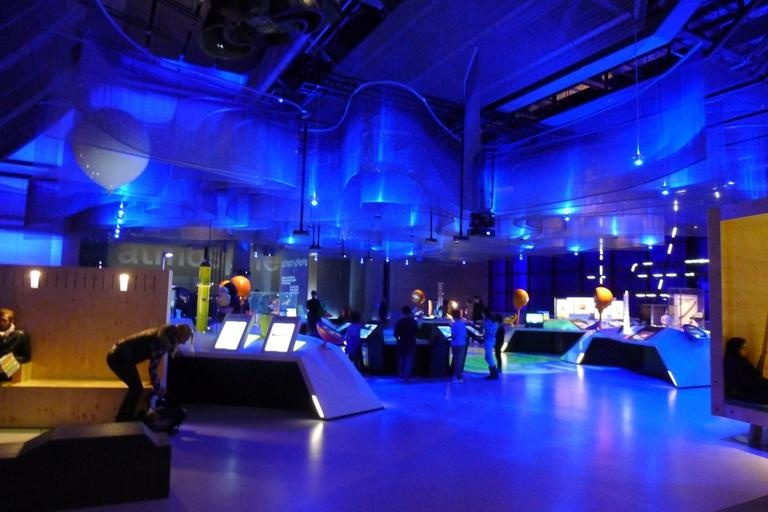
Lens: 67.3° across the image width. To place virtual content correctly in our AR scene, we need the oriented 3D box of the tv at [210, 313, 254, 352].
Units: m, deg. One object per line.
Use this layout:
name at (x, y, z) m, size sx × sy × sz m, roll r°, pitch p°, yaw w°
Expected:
tv at (-2.772, 1.384, 10.440) m, size 0.562 × 0.554 × 0.497 m, roll 3°, pitch 5°, yaw 9°

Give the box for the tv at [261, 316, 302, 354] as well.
tv at (-1.875, 1.409, 10.347) m, size 0.587 × 0.566 × 0.530 m, roll 2°, pitch 5°, yaw 2°

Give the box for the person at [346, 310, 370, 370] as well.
person at (-0.719, 2.100, 14.073) m, size 0.512 × 1.577 × 0.427 m, roll 0°, pitch 20°, yaw -13°

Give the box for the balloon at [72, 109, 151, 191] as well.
balloon at (-4.343, -1.639, 9.105) m, size 1.007 × 1.174 × 1.251 m, roll -2°, pitch 6°, yaw -32°

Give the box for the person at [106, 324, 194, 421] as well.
person at (-3.686, 1.780, 8.847) m, size 1.163 × 1.513 × 0.414 m, roll 3°, pitch 6°, yaw 14°

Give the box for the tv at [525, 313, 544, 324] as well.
tv at (5.159, 2.130, 19.721) m, size 0.594 × 0.284 × 0.843 m, roll 3°, pitch 5°, yaw 13°
